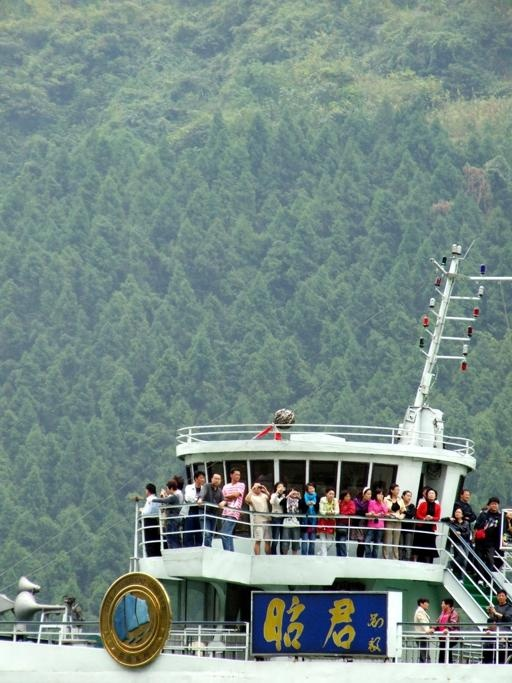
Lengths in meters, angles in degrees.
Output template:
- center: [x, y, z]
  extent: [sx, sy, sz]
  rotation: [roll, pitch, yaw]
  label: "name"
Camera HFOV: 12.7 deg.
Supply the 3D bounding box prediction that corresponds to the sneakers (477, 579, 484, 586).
- center: [11.214, 11.916, 114.275]
  extent: [0.252, 0.284, 0.470]
  rotation: [7, -3, -1]
  label: "sneakers"
